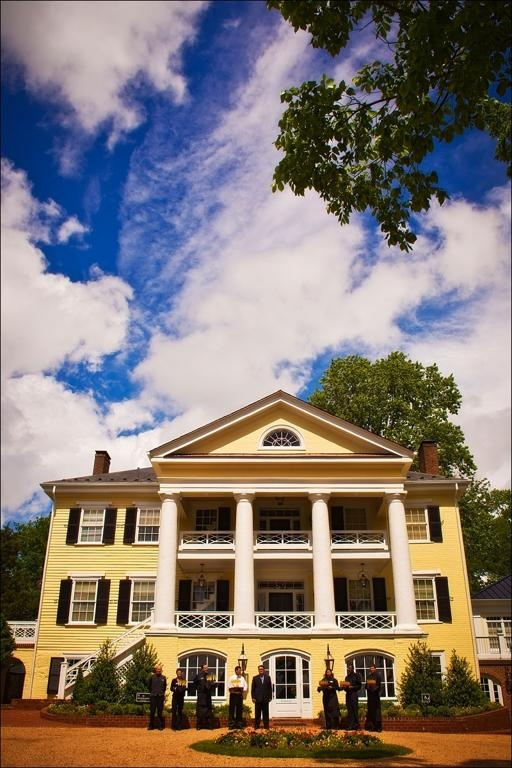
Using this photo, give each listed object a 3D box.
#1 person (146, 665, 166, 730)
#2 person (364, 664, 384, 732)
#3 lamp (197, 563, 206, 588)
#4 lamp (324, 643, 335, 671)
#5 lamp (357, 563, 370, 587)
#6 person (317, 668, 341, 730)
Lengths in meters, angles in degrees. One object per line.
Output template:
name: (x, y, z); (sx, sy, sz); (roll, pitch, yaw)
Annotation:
person: (-2.571, 8.196, 14.355); (0.455, 1.464, 1.218); (4, -26, -7)
person: (2.969, 8.092, 14.089); (0.424, 1.487, 1.526); (-3, -26, 9)
lamp: (-2.235, 8.030, 22.861); (0.355, 0.722, 0.936); (3, -26, -5)
lamp: (2.360, 8.908, 17.876); (0.322, 0.756, 1.022); (-3, -26, 8)
lamp: (4.382, 7.941, 22.552); (0.462, 0.792, 0.928); (-4, -26, 10)
person: (1.805, 7.795, 13.530); (0.480, 1.318, 1.604); (-2, -26, 7)
